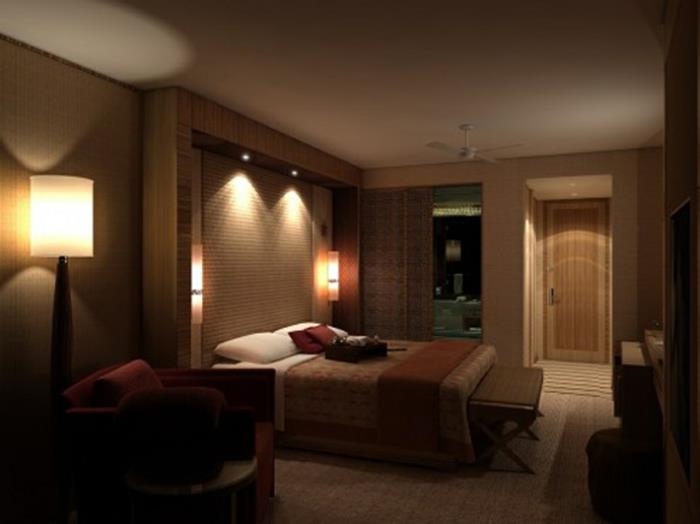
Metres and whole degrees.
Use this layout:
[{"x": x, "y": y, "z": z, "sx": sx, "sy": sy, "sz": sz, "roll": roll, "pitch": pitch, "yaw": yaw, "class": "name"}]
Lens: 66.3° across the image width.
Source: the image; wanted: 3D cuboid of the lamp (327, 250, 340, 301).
[{"x": -0.250, "y": 0.218, "z": 7.749, "sx": 0.168, "sy": 0.747, "sz": 0.274, "roll": 0, "pitch": 4, "yaw": 5, "class": "lamp"}]

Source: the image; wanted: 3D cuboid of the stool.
[{"x": -0.870, "y": 1.217, "z": 2.982, "sx": 0.712, "sy": 0.107, "sz": 0.256, "roll": -2, "pitch": 4, "yaw": -19, "class": "stool"}]

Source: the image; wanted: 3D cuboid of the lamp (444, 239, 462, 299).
[{"x": 1.452, "y": 0.068, "z": 7.529, "sx": 0.271, "sy": 0.796, "sz": 0.085, "roll": 0, "pitch": 4, "yaw": 14, "class": "lamp"}]

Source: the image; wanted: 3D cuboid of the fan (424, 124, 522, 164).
[{"x": 1.254, "y": -1.283, "z": 5.987, "sx": 0.604, "sy": 0.247, "sz": 0.694, "roll": 0, "pitch": -3, "yaw": 32, "class": "fan"}]

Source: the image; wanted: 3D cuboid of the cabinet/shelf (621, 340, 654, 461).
[{"x": 2.425, "y": 1.200, "z": 4.525, "sx": 0.172, "sy": 0.425, "sz": 0.870, "roll": -3, "pitch": -3, "yaw": 24, "class": "cabinet/shelf"}]

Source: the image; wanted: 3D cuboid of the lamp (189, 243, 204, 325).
[{"x": -1.456, "y": 0.192, "z": 5.098, "sx": 0.133, "sy": 0.752, "sz": 0.133, "roll": 1, "pitch": 5, "yaw": -2, "class": "lamp"}]
